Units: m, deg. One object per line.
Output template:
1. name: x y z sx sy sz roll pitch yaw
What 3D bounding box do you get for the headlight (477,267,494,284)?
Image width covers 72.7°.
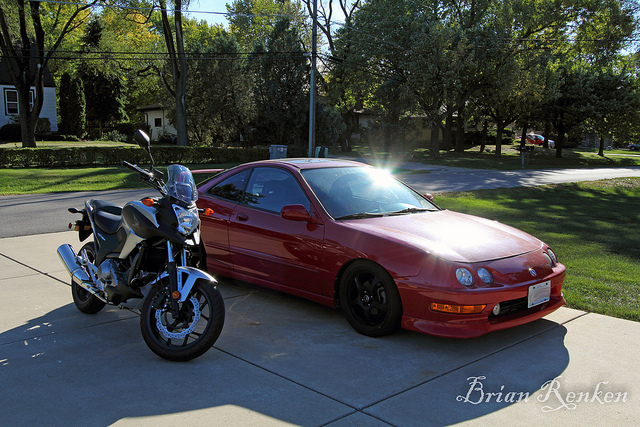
1. headlight: 1.754 0.644 4.610 0.171 0.141 0.097 3 12 7

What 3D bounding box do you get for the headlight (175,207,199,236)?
1. headlight: -1.358 0.057 4.469 0.207 0.278 0.107 -6 13 -38

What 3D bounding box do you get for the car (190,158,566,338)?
1. car: 0.231 0.077 5.802 4.886 1.471 2.267 8 10 38
